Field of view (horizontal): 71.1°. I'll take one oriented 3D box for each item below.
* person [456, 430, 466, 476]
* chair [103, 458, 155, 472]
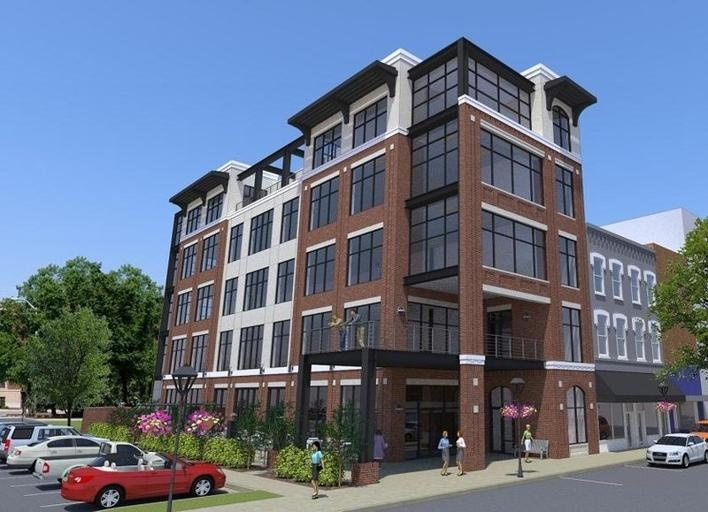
[{"bbox_3d":[5.907,10.893,27.480,0.502,2.281,1.527,-4,-22,13],"label":"person"},{"bbox_3d":[-9.685,9.104,21.399,1.375,0.409,0.761,0,-9,-5],"label":"chair"}]
